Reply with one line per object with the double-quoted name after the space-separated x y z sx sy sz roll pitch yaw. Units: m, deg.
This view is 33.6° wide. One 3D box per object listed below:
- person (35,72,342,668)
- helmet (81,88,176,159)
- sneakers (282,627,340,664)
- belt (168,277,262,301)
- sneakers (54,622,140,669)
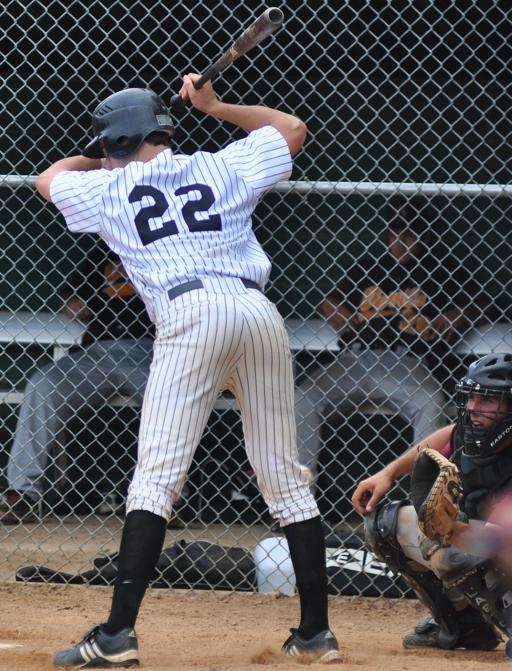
-0.197 0.029 2.359 0.906 1.724 0.371 2 -8 0 "person"
-0.384 -0.607 2.466 0.297 0.165 0.187 -7 6 3 "helmet"
0.152 0.835 2.283 0.183 0.062 0.068 -5 -7 45 "sneakers"
-0.099 -0.121 2.299 0.261 0.076 0.085 6 -9 -36 "belt"
-0.395 0.808 2.172 0.281 0.089 0.088 -4 -23 14 "sneakers"
